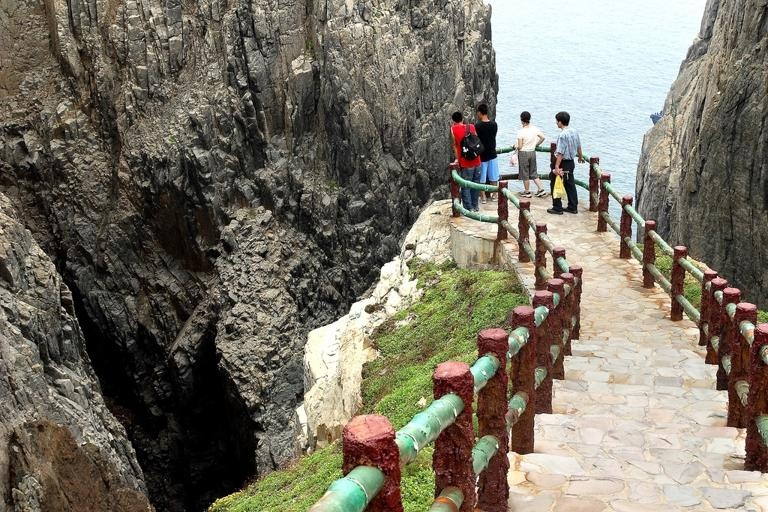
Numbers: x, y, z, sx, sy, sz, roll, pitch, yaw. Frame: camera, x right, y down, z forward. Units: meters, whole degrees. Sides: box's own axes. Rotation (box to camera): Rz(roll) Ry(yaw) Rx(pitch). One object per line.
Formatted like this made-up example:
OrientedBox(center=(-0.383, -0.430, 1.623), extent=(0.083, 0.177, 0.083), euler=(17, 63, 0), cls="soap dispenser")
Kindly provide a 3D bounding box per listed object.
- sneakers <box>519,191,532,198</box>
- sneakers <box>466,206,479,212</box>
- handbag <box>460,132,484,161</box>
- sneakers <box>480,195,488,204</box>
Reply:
OrientedBox(center=(3.258, -1.429, 18.043), extent=(0.129, 0.111, 0.243), euler=(-6, 15, -27), cls="sneakers")
OrientedBox(center=(1.995, -1.054, 17.497), extent=(0.309, 0.147, 0.111), euler=(0, 5, 16), cls="sneakers")
OrientedBox(center=(1.884, -2.390, 17.045), extent=(0.368, 0.504, 0.277), euler=(-46, 24, -15), cls="handbag")
OrientedBox(center=(2.316, -1.322, 18.290), extent=(0.138, 0.180, 0.407), euler=(1, 9, 8), cls="sneakers")
